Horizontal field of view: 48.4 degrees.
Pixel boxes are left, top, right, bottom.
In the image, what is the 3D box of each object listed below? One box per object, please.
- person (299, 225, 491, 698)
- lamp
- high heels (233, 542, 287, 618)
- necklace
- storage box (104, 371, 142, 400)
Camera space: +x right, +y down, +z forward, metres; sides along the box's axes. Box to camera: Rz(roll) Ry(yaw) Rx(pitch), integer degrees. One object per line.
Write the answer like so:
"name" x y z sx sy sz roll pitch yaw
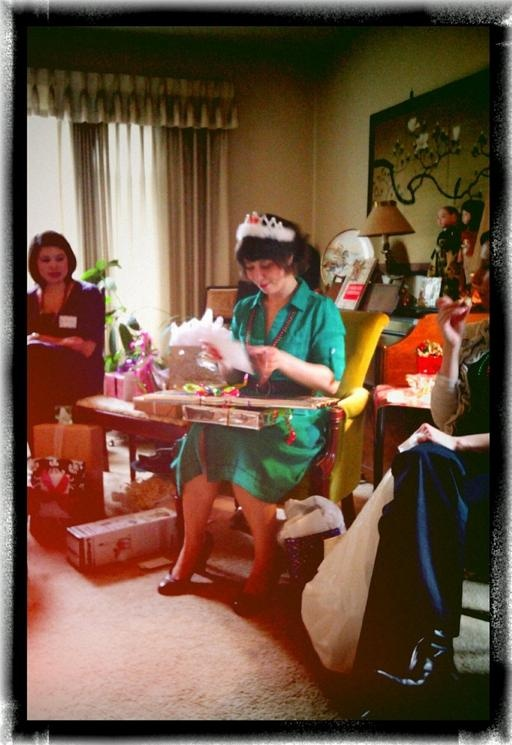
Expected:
"person" 0.335 0.179 1.141 0.407 0.840 0.269 -1 7 -17
"lamp" 0.579 -0.563 2.542 0.246 0.372 0.247 -2 8 19
"high heels" 0.022 0.476 1.376 0.063 0.084 0.198 14 41 39
"necklace" 0.030 -0.058 1.392 0.103 0.189 0.038 10 -15 8
"storage box" -0.505 0.052 2.188 0.109 0.095 0.194 0 1 -36
